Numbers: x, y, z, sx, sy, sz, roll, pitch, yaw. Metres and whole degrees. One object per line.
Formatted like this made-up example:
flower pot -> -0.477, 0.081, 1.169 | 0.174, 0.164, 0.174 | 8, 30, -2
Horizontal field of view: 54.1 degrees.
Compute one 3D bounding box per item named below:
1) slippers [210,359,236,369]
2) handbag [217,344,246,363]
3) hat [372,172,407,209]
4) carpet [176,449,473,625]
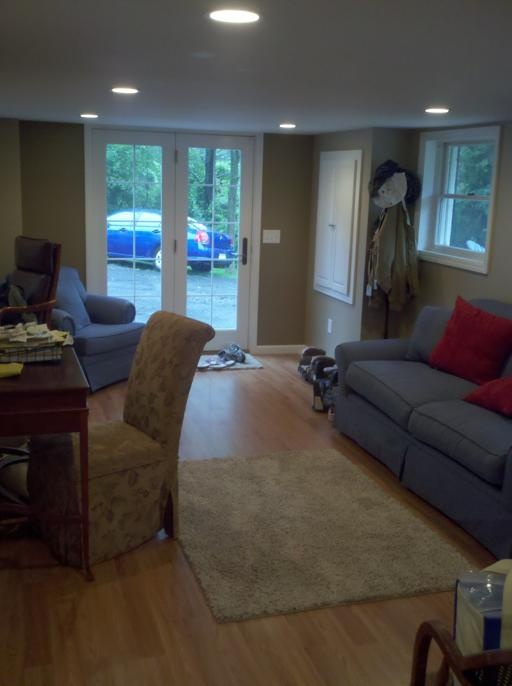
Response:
slippers -> -0.343, 0.219, 5.110 | 0.248, 0.055, 0.223 | 2, 9, -5
handbag -> -0.238, 0.109, 5.309 | 0.320, 0.209, 0.135 | 0, 2, 32
hat -> 1.112, -1.258, 4.155 | 0.268, 0.284, 0.174 | 4, 9, 15
carpet -> 0.216, 0.823, 2.475 | 1.199, 0.043, 1.388 | 0, 9, -14
